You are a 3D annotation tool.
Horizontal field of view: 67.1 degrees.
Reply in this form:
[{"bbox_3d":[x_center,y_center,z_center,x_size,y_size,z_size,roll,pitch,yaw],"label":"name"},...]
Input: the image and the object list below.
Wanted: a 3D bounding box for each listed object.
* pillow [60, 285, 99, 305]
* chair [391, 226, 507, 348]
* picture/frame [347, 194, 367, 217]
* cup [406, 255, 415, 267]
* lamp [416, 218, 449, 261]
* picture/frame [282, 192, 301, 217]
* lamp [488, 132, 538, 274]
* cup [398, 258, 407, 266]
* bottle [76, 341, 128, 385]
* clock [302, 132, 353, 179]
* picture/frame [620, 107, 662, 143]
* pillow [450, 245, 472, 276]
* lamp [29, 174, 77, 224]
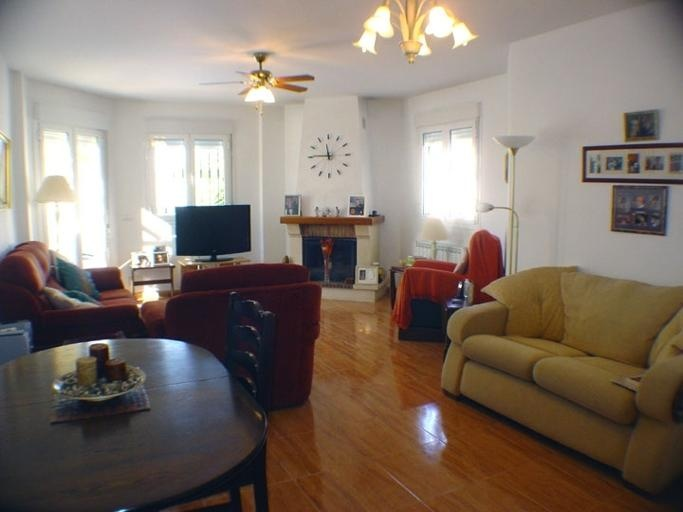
[{"bbox_3d":[-2.483,0.391,4.896,0.239,0.077,0.242,12,0,-22],"label":"pillow"},{"bbox_3d":[1.113,0.295,5.759,1.194,1.369,1.123,6,9,38],"label":"chair"},{"bbox_3d":[0.227,-0.746,7.683,0.332,0.434,0.041,1,-2,8],"label":"picture/frame"},{"bbox_3d":[0.962,0.073,7.056,0.132,0.143,0.134,0,0,0],"label":"cup"},{"bbox_3d":[1.223,-0.218,6.986,0.512,0.794,0.513,-2,3,2],"label":"lamp"},{"bbox_3d":[-0.761,-0.783,7.932,0.221,0.306,0.103,3,14,13],"label":"picture/frame"},{"bbox_3d":[1.727,-0.524,5.247,0.337,1.366,0.758,5,14,19],"label":"lamp"},{"bbox_3d":[0.863,0.094,7.211,0.128,0.098,0.132,0,1,0],"label":"cup"},{"bbox_3d":[-1.167,0.518,2.562,0.144,0.173,0.244,8,10,40],"label":"bottle"},{"bbox_3d":[-0.184,-1.542,7.799,0.643,0.695,0.087,3,10,16],"label":"clock"},{"bbox_3d":[2.455,-1.063,4.191,0.024,0.321,0.302,-6,9,-38],"label":"picture/frame"},{"bbox_3d":[1.303,0.060,5.709,0.072,0.255,0.245,14,-12,3],"label":"pillow"},{"bbox_3d":[-3.621,-0.716,6.477,0.402,0.587,0.708,-8,15,-30],"label":"lamp"}]
